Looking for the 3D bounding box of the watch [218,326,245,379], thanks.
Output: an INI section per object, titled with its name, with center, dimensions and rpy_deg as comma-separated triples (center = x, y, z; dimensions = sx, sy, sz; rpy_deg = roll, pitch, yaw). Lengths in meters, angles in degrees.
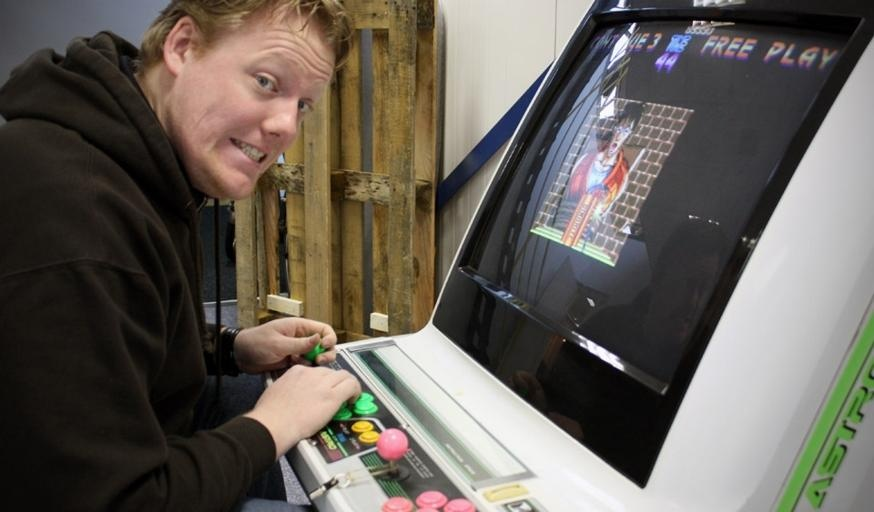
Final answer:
[watch]
center = -0.518, 0.248, 1.463
dimensions = 0.056, 0.107, 0.090
rpy_deg = 1, 1, -5
